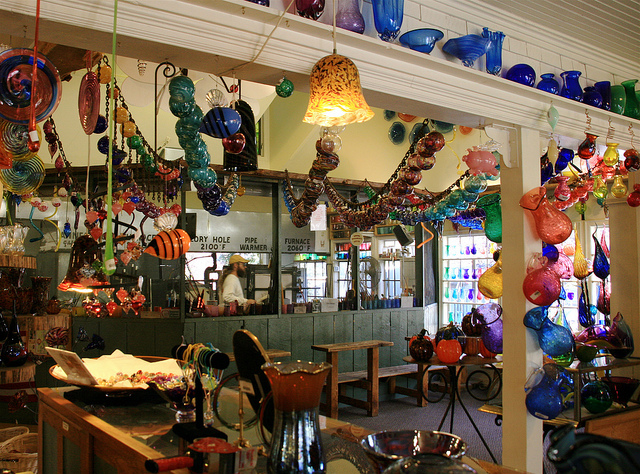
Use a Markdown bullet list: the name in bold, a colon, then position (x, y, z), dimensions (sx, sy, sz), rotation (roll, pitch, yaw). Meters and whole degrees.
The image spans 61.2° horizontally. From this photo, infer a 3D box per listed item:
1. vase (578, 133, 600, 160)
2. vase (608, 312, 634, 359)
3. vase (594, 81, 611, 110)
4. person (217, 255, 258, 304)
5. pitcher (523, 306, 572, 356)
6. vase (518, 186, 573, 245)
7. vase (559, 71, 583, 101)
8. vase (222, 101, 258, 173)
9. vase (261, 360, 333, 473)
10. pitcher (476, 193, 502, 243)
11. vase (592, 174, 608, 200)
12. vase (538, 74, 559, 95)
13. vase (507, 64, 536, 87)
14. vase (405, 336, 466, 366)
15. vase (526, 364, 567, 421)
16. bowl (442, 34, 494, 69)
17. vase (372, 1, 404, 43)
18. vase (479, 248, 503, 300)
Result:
- **vase**: position (2.272, -0.783, 4.593), dimensions (0.141, 0.240, 0.245), rotation (-1, -9, 27)
- **vase**: position (2.865, 0.938, 5.128), dimensions (0.296, 0.435, 0.169), rotation (10, -11, -42)
- **vase**: position (2.466, -1.222, 4.712), dimensions (0.135, 0.272, 0.086), rotation (9, -10, -40)
- **person**: position (-1.103, 0.751, 7.313), dimensions (0.567, 0.987, 0.669), rotation (1, -2, -12)
- **pitcher**: position (1.717, 0.709, 4.079), dimensions (0.335, 0.362, 0.177), rotation (-1, -9, 25)
- **vase**: position (1.681, -0.164, 4.041), dimensions (0.355, 0.429, 0.202), rotation (0, -8, 20)
- **vase**: position (2.092, -1.243, 4.498), dimensions (0.226, 0.252, 0.161), rotation (-15, 14, -35)
- **vase**: position (-0.512, -0.648, 3.547), dimensions (0.206, 0.408, 0.351), rotation (4, -8, -11)
- **vase**: position (-0.106, 0.741, 2.207), dimensions (0.286, 0.448, 0.200), rotation (3, -8, -3)
- **pitcher**: position (1.418, -0.161, 4.484), dimensions (0.206, 0.399, 0.182), rotation (-2, -9, 33)
- **vase**: position (2.575, -0.462, 4.975), dimensions (0.106, 0.214, 0.218), rotation (-1, -9, 27)
- **vase**: position (1.823, -1.203, 4.323), dimensions (0.162, 0.194, 0.166), rotation (0, 4, 40)
- **vase**: position (1.551, -1.229, 4.210), dimensions (0.180, 0.175, 0.180), rotation (-1, 1, -15)
- **vase**: position (1.187, 1.137, 5.381), dimensions (0.468, 0.208, 0.358), rotation (0, -4, -8)
- **vase**: position (1.679, 1.107, 3.983), dimensions (0.259, 0.412, 0.222), rotation (10, 17, 30)
- **bowl**: position (1.076, -1.360, 3.970), dimensions (0.265, 0.148, 0.306), rotation (-3, -7, 23)
- **vase**: position (0.443, -1.421, 3.680), dimensions (0.233, 0.369, 0.240), rotation (-2, 7, -1)
- **vase**: position (1.470, 0.338, 4.624), dimensions (0.217, 0.364, 0.184), rotation (4, -8, -8)
